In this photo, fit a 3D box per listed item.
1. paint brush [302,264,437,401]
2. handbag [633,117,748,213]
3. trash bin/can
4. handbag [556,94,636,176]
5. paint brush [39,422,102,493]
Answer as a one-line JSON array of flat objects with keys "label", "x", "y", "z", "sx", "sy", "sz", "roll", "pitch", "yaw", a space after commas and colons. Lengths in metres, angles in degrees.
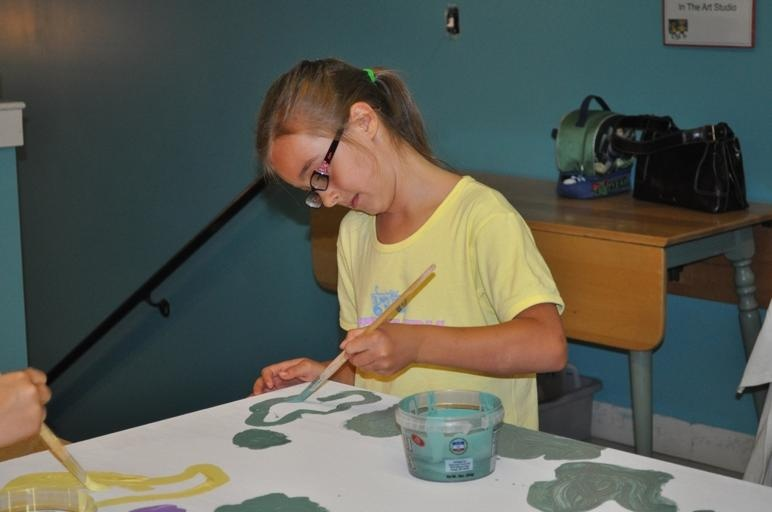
[{"label": "paint brush", "x": -0.041, "y": 0.192, "z": 1.799, "sx": 0.645, "sy": 0.069, "sz": 0.030, "roll": -47, "pitch": 7, "yaw": 8}, {"label": "handbag", "x": 1.039, "y": -0.324, "z": 2.414, "sx": 0.164, "sy": 0.297, "sz": 0.397, "roll": -13, "pitch": 18, "yaw": -26}, {"label": "trash bin/can", "x": 0.720, "y": 0.598, "z": 2.731, "sx": 0.315, "sy": 0.255, "sz": 0.273, "roll": -1, "pitch": 1, "yaw": 31}, {"label": "handbag", "x": 0.751, "y": -0.445, "z": 2.578, "sx": 0.171, "sy": 0.324, "sz": 0.256, "roll": 13, "pitch": 31, "yaw": 33}, {"label": "paint brush", "x": -0.592, "y": 0.351, "z": 1.268, "sx": 0.084, "sy": 0.123, "sz": 0.175, "roll": -9, "pitch": 12, "yaw": -36}]
